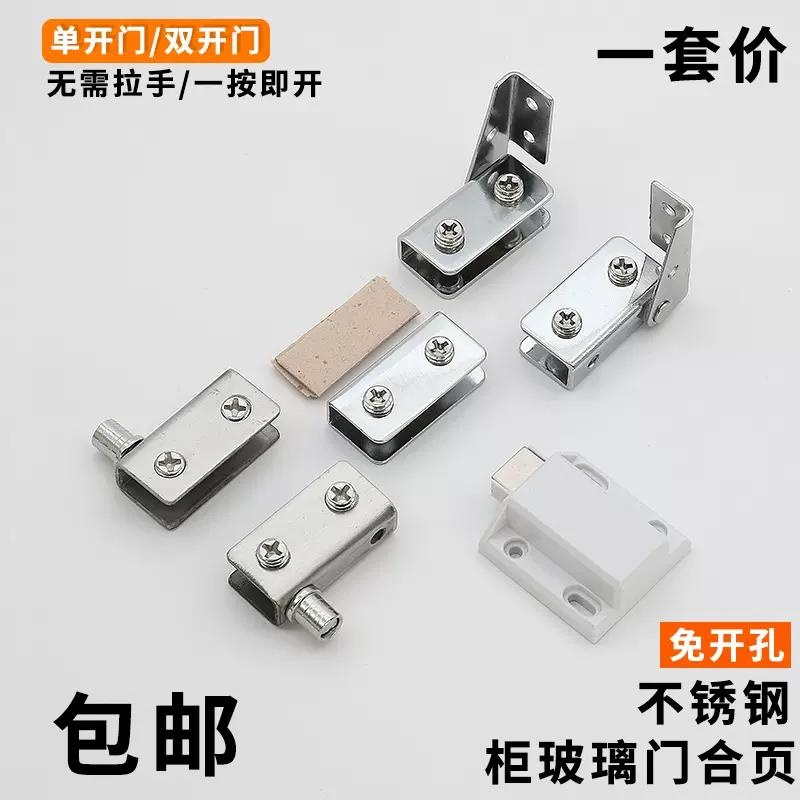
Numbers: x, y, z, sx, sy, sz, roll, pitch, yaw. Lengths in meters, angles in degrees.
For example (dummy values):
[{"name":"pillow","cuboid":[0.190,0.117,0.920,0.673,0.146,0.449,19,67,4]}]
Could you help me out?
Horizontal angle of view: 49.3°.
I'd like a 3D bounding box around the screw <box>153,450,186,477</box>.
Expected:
[{"name":"screw","cuboid":[-0.946,0.271,3.625,0.126,0.092,0.075,-3,15,-16]}]
